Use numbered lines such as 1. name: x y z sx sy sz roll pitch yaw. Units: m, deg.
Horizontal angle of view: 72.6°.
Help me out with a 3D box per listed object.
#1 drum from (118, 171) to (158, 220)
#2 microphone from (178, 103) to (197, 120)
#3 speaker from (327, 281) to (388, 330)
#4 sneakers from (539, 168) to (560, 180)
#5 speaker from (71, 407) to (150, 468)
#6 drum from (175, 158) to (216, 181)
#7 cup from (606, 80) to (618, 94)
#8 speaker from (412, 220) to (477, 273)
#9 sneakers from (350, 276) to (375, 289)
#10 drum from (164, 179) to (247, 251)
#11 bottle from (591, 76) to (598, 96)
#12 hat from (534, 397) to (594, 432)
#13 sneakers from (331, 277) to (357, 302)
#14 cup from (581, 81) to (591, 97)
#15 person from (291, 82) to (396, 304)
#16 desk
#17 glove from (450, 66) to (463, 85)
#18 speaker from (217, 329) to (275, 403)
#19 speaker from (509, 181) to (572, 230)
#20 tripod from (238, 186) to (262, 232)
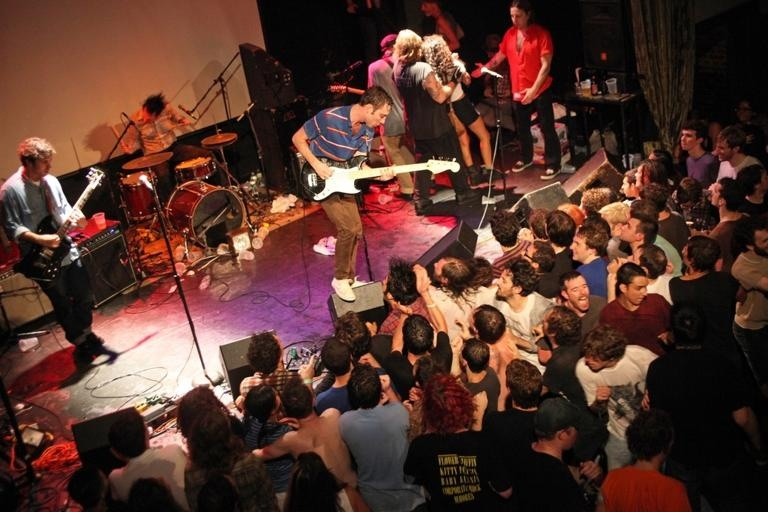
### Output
1. drum: -4.288 -0.978 9.081 0.578 0.684 0.584 3 -3 -11
2. microphone: -3.764 -2.750 9.891 0.106 0.461 0.180 -34 -6 -33
3. speaker: -0.262 0.523 6.022 0.693 0.665 0.469 -9 45 -9
4. sneakers: 2.789 -1.387 8.849 0.372 0.143 0.147 -22 20 -27
5. speaker: -2.536 1.684 4.696 0.426 0.529 0.279 -15 15 -12
6. drum: -3.192 -1.372 8.849 0.521 0.199 0.508 -7 24 3
7. cup: 3.700 -2.743 8.466 0.126 0.175 0.153 22 55 36
8. speaker: 0.741 -0.117 6.436 0.824 0.268 0.454 -38 6 30
9. sneakers: -0.284 0.331 6.589 0.066 0.074 0.256 -19 1 42
10. drum: -2.995 -0.758 8.845 0.827 1.037 1.115 19 22 35
11. bottle: 3.496 -2.823 8.679 0.118 0.280 0.513 -6 15 24
12. hat: 1.346 1.150 3.902 0.420 0.223 0.284 -11 7 10
13. sneakers: -0.475 0.413 6.433 0.161 0.179 0.459 -11 25 -29
14. cup: 3.304 -2.748 8.554 0.155 0.244 0.172 -6 16 22
15. person: -0.505 -0.745 6.655 1.346 2.526 1.006 -1 22 -14
16. desk: 3.678 -2.104 8.630 1.232 1.596 0.825 14 50 29
17. glove: 1.078 -2.752 7.959 0.187 0.269 0.151 -20 16 -27
18. speaker: -1.493 1.169 5.407 0.354 0.596 0.286 -15 15 -12
19. speaker: 1.997 -0.718 6.721 0.690 0.466 0.656 -37 9 8
20. tripod: -2.467 -0.883 9.790 0.178 0.755 0.764 -12 30 -23
